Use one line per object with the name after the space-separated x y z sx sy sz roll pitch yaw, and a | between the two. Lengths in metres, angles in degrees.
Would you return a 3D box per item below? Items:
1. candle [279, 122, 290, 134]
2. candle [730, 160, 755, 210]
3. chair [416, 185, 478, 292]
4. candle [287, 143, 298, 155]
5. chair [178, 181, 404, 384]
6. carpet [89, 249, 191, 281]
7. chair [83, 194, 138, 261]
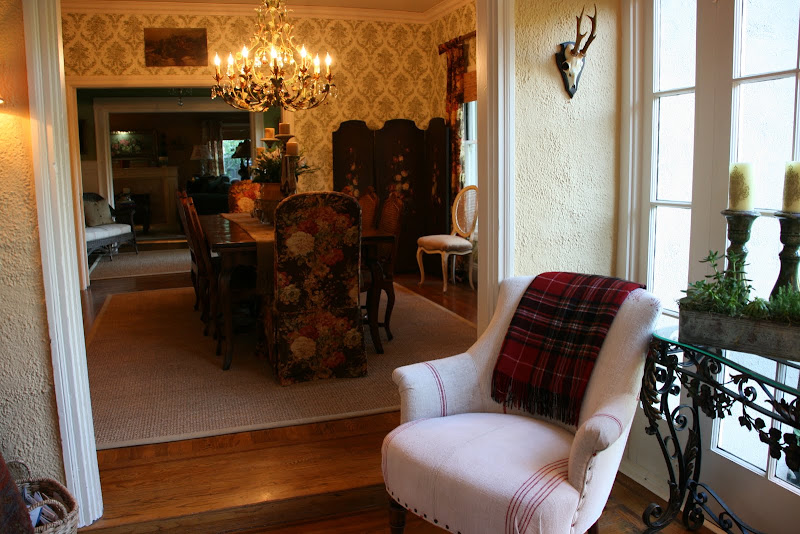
-0.926 -1.119 4.881 0.071 0.083 0.271 -5 13 -13 | candle
1.407 -0.337 2.536 0.074 0.195 0.128 -5 13 -14 | candle
0.541 -0.363 6.915 0.700 1.220 0.779 3 6 12 | chair
-0.844 -0.924 4.743 0.084 0.097 0.081 -6 13 -20 | candle
-0.890 -0.430 4.459 1.216 1.123 2.199 -6 15 -17 | chair
-3.734 -0.045 8.882 1.260 0.117 2.298 -6 13 -18 | carpet
-4.301 -0.600 8.941 0.758 0.965 0.782 -9 10 -20 | chair
